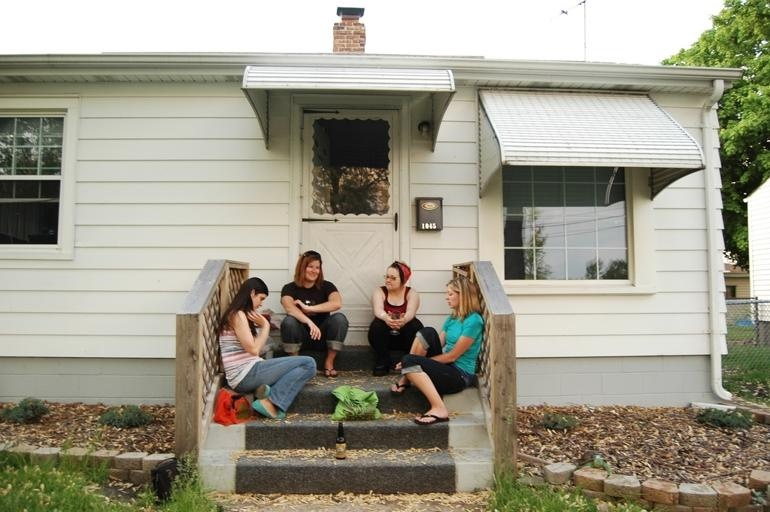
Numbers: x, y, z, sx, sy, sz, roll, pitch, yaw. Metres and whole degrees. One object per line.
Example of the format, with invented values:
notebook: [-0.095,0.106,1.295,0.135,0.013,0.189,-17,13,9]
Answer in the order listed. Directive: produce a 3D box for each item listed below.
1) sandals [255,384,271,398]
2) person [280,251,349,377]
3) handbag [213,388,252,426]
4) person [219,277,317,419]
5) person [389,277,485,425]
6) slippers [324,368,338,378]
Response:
sandals: [-1.571,1.741,8.879,0.226,0.168,0.153,-1,-4,-5]
person: [-1.029,0.777,9.658,1.065,1.648,1.039,0,-1,35]
handbag: [-1.939,1.903,8.756,0.513,0.412,0.367,0,-2,-5]
person: [-1.576,1.178,8.891,1.142,1.778,0.367,0,-3,-9]
person: [0.735,1.197,8.930,1.106,1.831,0.547,0,-3,-6]
slippers: [-0.736,1.603,9.436,0.203,0.101,0.217,0,-2,-13]
